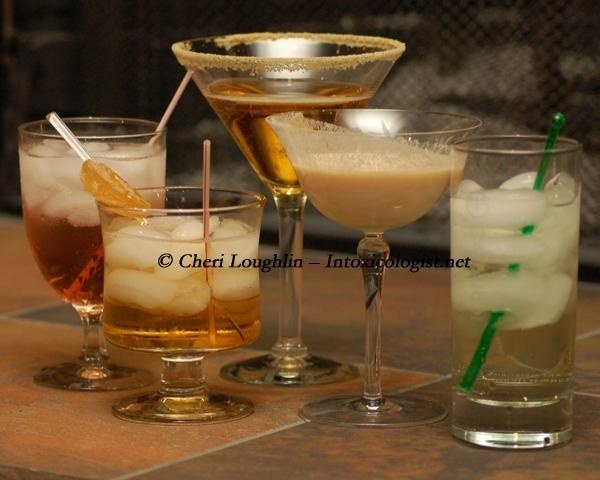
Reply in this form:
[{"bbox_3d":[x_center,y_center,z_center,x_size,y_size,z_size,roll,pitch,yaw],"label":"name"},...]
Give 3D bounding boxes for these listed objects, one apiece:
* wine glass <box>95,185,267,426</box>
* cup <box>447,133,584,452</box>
[{"bbox_3d":[-0.132,0.072,0.796,0.174,0.257,0.136,9,15,23],"label":"wine glass"},{"bbox_3d":[0.208,0.051,0.697,0.131,0.302,0.116,3,15,-4],"label":"cup"}]
